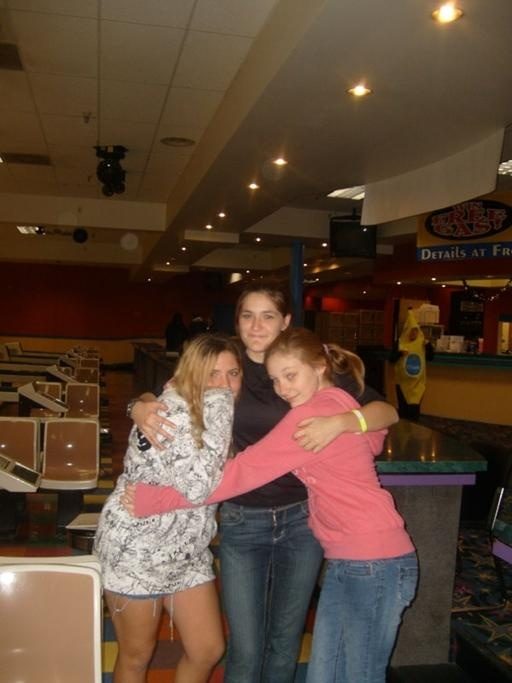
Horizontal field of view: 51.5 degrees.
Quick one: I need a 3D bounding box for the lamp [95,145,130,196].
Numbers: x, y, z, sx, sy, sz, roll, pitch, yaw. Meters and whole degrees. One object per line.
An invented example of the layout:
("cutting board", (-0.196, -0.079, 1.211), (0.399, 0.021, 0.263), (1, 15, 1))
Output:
("lamp", (-1.584, -1.874, 5.861), (0.477, 0.581, 0.193), (-1, 7, 0))
